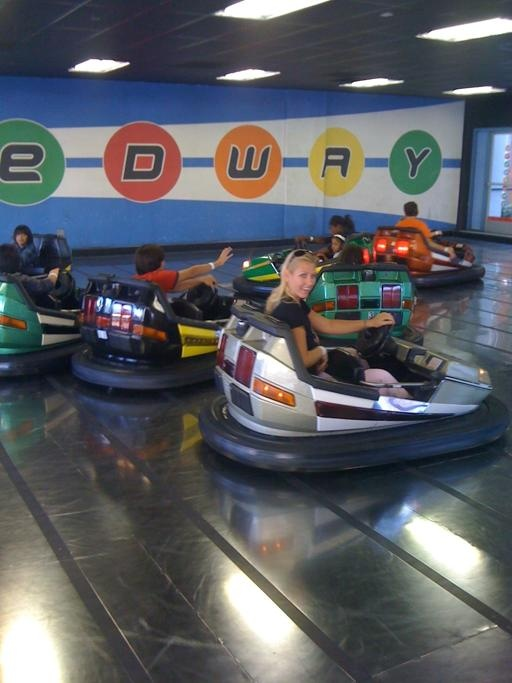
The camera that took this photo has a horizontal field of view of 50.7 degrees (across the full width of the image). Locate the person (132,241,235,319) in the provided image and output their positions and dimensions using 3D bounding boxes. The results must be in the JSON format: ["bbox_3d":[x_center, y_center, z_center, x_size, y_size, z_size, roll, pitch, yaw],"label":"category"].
[{"bbox_3d":[-0.460,-0.375,3.677,0.536,0.540,0.989,1,10,2],"label":"person"}]

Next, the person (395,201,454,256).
[{"bbox_3d":[2.060,-1.342,6.539,0.684,0.663,0.845,3,10,16],"label":"person"}]

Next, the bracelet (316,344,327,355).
[{"bbox_3d":[0.280,0.033,2.322,0.047,0.031,0.047,-5,7,-39],"label":"bracelet"}]

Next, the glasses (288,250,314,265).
[{"bbox_3d":[0.185,-0.347,2.187,0.071,0.020,0.069,9,-26,-26],"label":"glasses"}]
